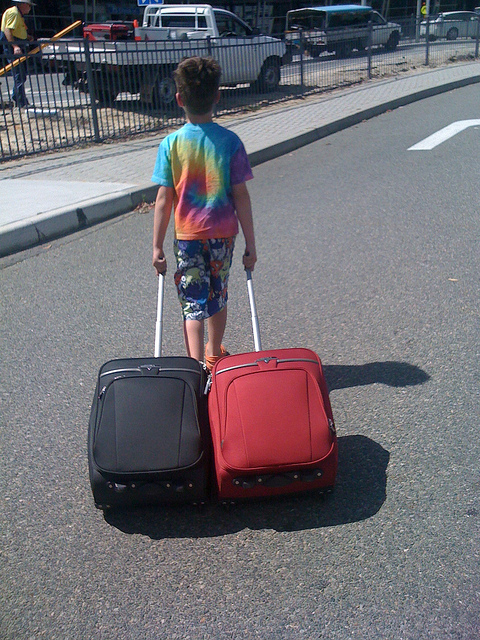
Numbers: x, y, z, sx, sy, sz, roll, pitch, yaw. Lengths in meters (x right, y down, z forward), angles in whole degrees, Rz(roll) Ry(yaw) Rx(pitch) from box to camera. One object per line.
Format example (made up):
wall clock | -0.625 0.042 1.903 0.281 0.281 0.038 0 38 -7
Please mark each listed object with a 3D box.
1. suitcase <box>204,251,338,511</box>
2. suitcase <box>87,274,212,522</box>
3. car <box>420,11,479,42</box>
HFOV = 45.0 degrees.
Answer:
suitcase | 0.107 0.382 2.169 0.461 0.406 0.441 -5 23 -4
suitcase | -0.342 0.178 2.245 0.449 1.062 0.356 -2 -12 -1
car | 7.508 -10.204 20.072 0.935 1.120 4.605 9 25 27
